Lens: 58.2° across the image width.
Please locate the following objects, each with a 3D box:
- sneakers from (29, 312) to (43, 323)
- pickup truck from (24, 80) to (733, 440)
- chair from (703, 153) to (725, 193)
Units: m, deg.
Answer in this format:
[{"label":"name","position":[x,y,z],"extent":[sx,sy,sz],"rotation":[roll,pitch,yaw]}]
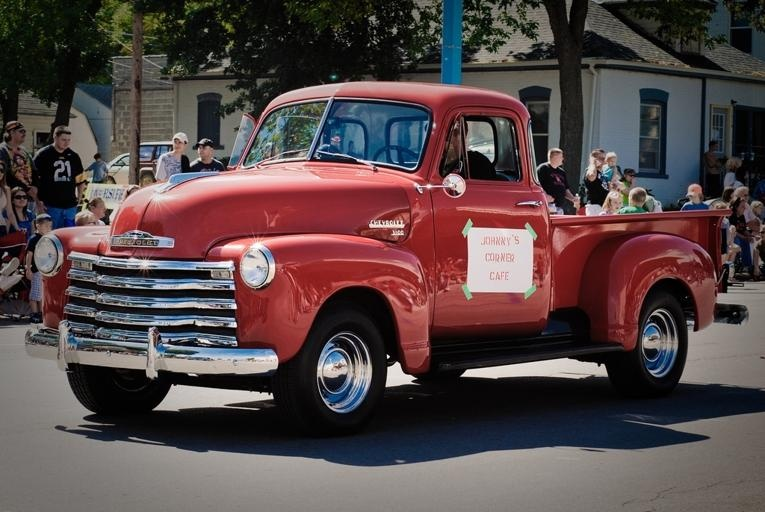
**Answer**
[{"label":"sneakers","position":[-5.519,0.979,11.045],"extent":[0.160,0.196,0.430],"rotation":[6,-4,-40]},{"label":"pickup truck","position":[0.074,-0.038,6.958],"extent":[6.512,3.560,2.147],"rotation":[-3,4,-34]},{"label":"chair","position":[14.573,-3.377,30.293],"extent":[0.556,2.708,0.801],"rotation":[-5,2,45]}]
